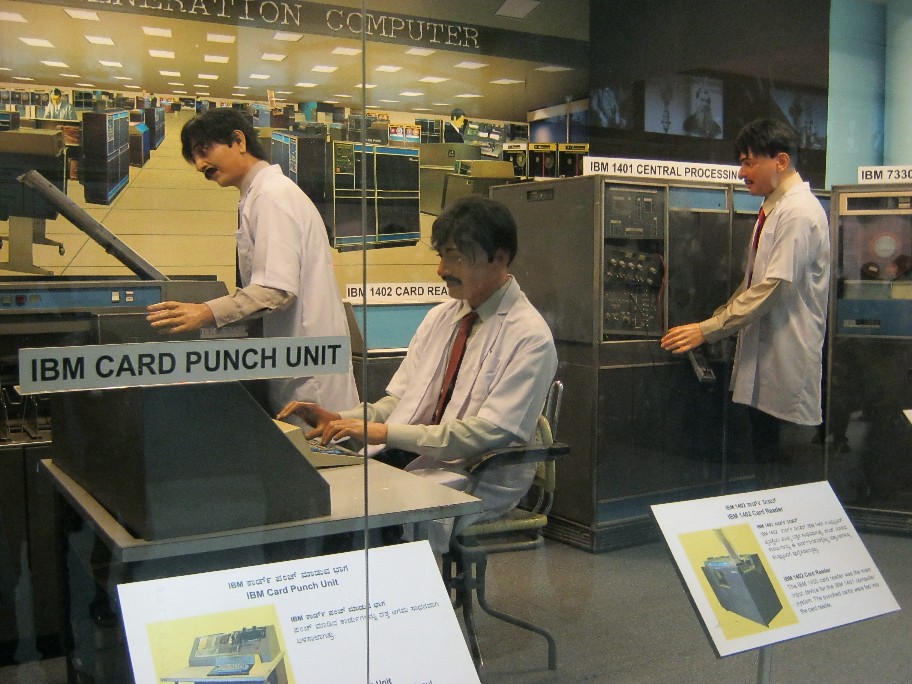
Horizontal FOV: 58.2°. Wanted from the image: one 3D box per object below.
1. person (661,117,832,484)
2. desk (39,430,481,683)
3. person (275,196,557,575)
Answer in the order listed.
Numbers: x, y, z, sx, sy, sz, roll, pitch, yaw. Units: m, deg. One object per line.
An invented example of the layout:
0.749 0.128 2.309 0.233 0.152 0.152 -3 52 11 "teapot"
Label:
0.746 -0.097 2.106 0.375 0.917 0.202 1 13 22 "person"
-0.350 0.332 1.498 0.791 0.393 0.255 -5 12 -6 "desk"
-0.067 0.194 1.715 0.547 0.982 0.474 2 2 -40 "person"
